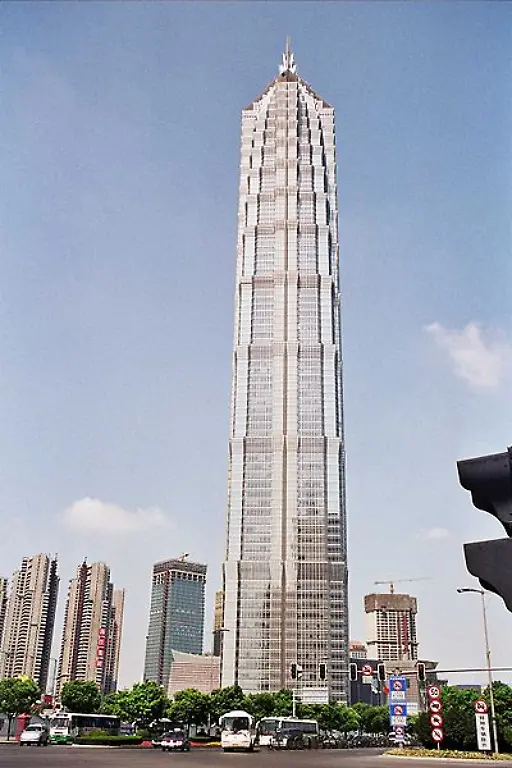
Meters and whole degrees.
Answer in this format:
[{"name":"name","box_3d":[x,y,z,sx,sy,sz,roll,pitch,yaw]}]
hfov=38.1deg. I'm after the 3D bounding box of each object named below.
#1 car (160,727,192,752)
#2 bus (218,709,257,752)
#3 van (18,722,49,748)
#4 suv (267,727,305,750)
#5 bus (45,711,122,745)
[{"name":"car","box_3d":[-6.248,28.485,58.583,1.654,1.287,3.511,-4,-35,1]},{"name":"bus","box_3d":[-1.524,31.115,65.061,2.304,2.721,6.050,-3,-36,4]},{"name":"van","box_3d":[-18.077,28.901,60.542,1.712,1.587,3.319,-2,-36,-4]},{"name":"suv","box_3d":[2.897,34.738,71.675,2.140,1.783,3.515,-17,-34,24]},{"name":"bus","box_3d":[-16.089,33.489,71.577,3.511,2.440,11.582,-5,-26,12]}]
